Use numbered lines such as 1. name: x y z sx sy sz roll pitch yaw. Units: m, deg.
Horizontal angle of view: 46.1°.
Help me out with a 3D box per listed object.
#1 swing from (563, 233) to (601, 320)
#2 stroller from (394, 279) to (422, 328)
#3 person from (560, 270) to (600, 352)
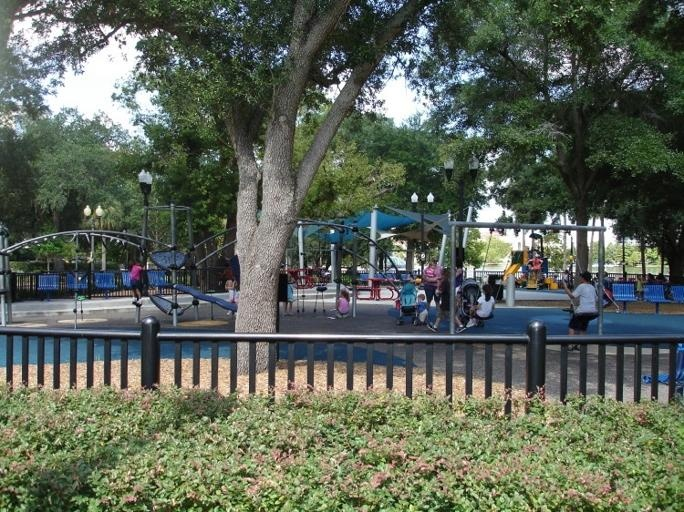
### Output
1. swing: 5.584 0.608 17.841 0.789 2.222 1.124 0 0 -2
2. stroller: 1.790 1.312 22.748 0.891 1.683 1.773 1 -2 -5
3. person: 5.516 1.257 18.569 0.702 1.839 0.884 0 6 -2
